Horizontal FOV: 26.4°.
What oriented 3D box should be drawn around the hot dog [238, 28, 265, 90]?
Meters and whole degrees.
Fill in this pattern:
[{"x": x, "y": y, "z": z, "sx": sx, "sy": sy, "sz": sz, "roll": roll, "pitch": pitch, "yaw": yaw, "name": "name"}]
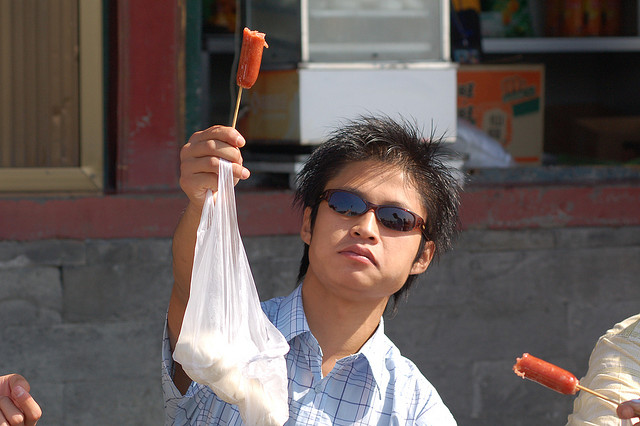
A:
[{"x": -0.423, "y": -0.941, "z": 8.384, "sx": 0.148, "sy": 0.360, "sz": 0.177, "roll": 2, "pitch": 9, "yaw": -3, "name": "hot dog"}]
